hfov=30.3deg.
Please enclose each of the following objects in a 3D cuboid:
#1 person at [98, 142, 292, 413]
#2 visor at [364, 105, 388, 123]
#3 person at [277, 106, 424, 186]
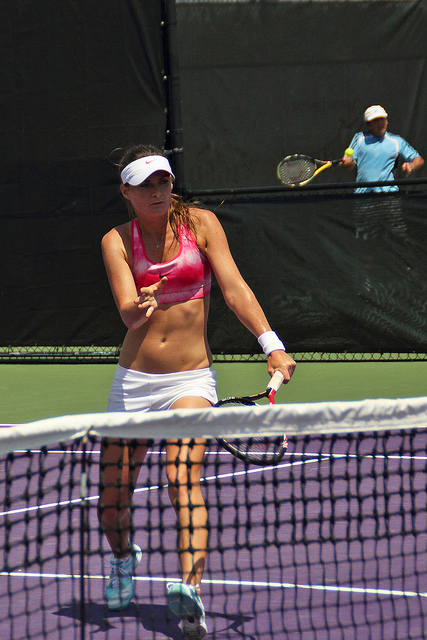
[{"bbox_3d":[-0.093,-0.104,2.458,0.592,0.692,0.652,-6,33,5],"label":"person"},{"bbox_3d":[1.411,-1.802,6.882,0.174,0.122,0.260,-5,32,6],"label":"visor"},{"bbox_3d":[1.280,-1.623,7.279,1.126,0.467,1.299,-2,61,19],"label":"person"}]
